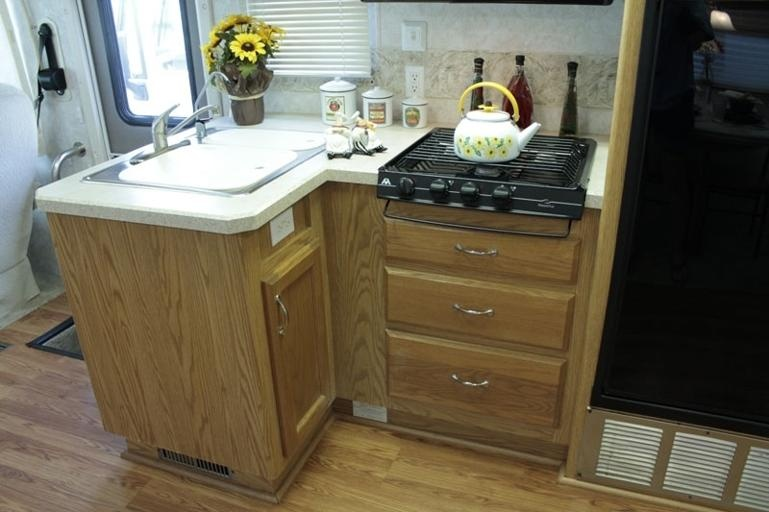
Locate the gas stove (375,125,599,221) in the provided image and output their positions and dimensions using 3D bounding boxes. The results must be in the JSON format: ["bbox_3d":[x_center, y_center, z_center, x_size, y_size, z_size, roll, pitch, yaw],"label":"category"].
[{"bbox_3d":[0.410,-0.334,2.165,0.740,0.157,0.554,8,27,17],"label":"gas stove"}]

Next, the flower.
[{"bbox_3d":[-0.629,-0.879,2.536,0.333,0.318,0.323,-5,25,23],"label":"flower"}]

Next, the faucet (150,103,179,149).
[{"bbox_3d":[-0.911,-0.548,2.312,0.123,0.181,0.227,-11,28,-18],"label":"faucet"}]

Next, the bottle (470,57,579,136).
[{"bbox_3d":[0.590,-0.657,2.296,0.408,0.330,0.095,13,37,26],"label":"bottle"}]

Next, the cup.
[{"bbox_3d":[-0.046,-0.678,2.501,0.467,0.197,0.393,-12,28,-22],"label":"cup"}]

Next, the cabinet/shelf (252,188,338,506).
[{"bbox_3d":[-0.320,0.270,2.132,0.143,0.938,0.543,4,28,10],"label":"cabinet/shelf"}]

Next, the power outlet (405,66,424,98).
[{"bbox_3d":[0.139,-0.793,2.546,0.110,0.136,0.012,15,25,36],"label":"power outlet"}]
